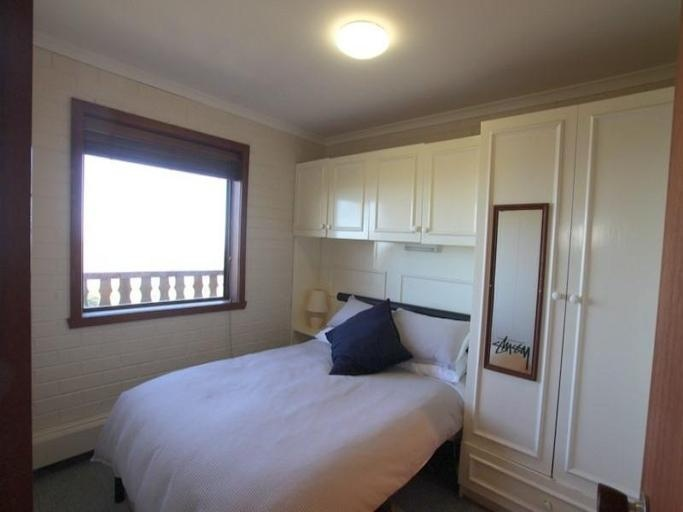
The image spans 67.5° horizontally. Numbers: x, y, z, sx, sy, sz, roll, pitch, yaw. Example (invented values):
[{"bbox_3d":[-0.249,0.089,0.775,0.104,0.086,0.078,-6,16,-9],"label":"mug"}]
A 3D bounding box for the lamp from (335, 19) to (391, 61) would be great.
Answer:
[{"bbox_3d":[0.127,-1.313,3.090,0.194,0.052,0.204,-2,-6,20],"label":"lamp"}]
